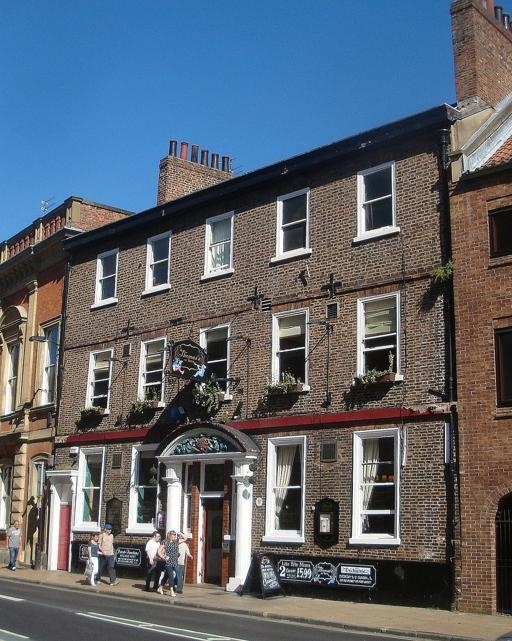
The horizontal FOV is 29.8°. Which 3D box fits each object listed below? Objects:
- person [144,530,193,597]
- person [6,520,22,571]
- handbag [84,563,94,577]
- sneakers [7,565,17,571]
[{"bbox_3d":[-2.006,5.719,22.495,1.010,1.872,0.965,-26,-38,30],"label":"person"},{"bbox_3d":[-7.053,6.523,27.844,0.326,1.405,0.734,5,-16,-14],"label":"person"},{"bbox_3d":[-4.177,6.166,23.966,0.113,0.381,0.344,8,-17,-22],"label":"handbag"},{"bbox_3d":[-7.114,7.188,27.870,0.145,0.211,0.595,10,-22,-30],"label":"sneakers"}]
